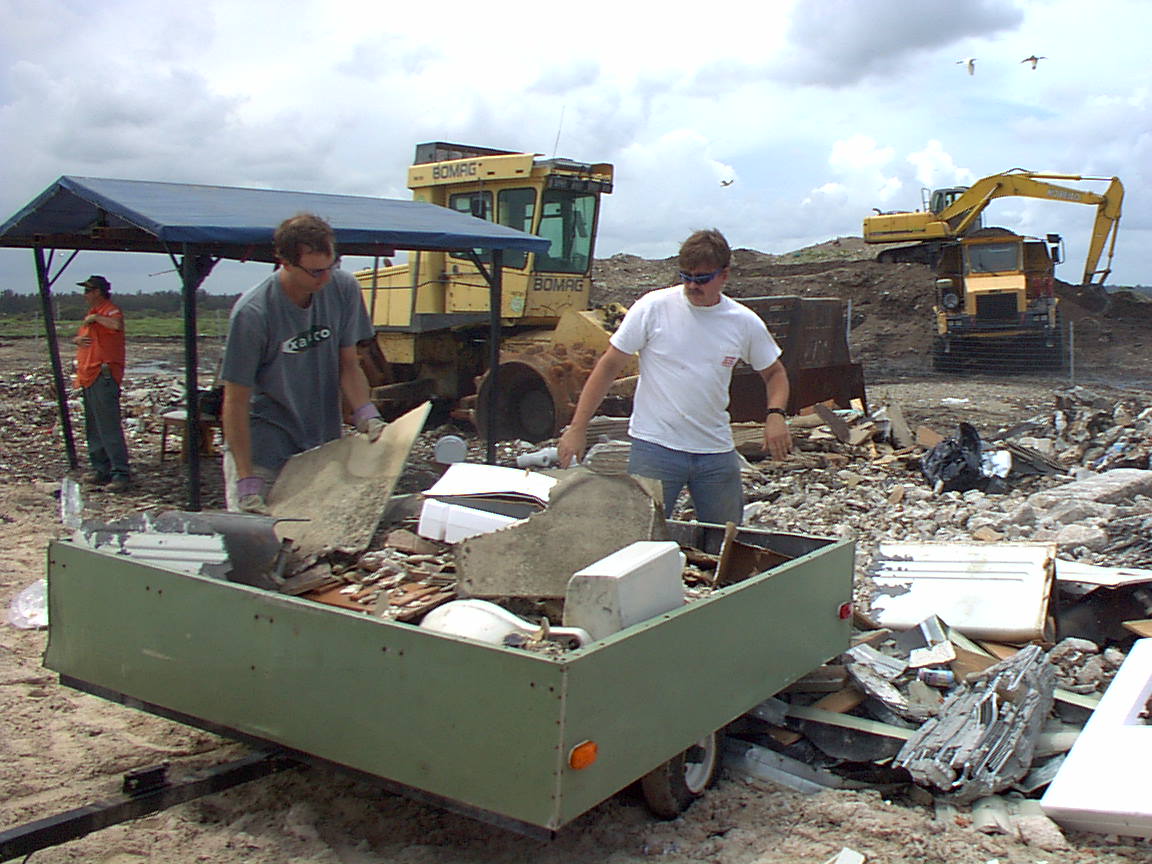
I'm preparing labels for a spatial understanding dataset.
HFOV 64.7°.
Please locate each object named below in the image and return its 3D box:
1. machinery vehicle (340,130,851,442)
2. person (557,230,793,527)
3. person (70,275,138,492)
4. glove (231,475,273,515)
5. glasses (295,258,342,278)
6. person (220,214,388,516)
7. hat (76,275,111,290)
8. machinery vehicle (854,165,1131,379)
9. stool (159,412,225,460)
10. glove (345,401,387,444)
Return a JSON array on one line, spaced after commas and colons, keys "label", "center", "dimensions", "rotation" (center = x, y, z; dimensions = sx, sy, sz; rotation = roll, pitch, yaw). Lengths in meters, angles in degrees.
[{"label": "machinery vehicle", "center": [-0.186, -1.789, 11.973], "dimensions": [6.841, 2.804, 3.739], "rotation": [7, 11, 37]}, {"label": "person", "center": [0.518, -0.258, 4.581], "dimensions": [1.087, 1.466, 0.477], "rotation": [-2, 16, 5]}, {"label": "person", "center": [-4.867, -0.497, 9.335], "dimensions": [0.647, 2.176, 0.672], "rotation": [-12, 18, -23]}, {"label": "glove", "center": [-1.559, 0.295, 4.388], "dimensions": [0.266, 0.160, 0.293], "rotation": [9, -4, -10]}, {"label": "glasses", "center": [-1.202, -0.757, 4.200], "dimensions": [0.182, 0.092, 0.073], "rotation": [-11, 16, -31]}, {"label": "person", "center": [-1.353, -0.243, 4.467], "dimensions": [0.845, 1.229, 0.576], "rotation": [-11, 17, -25]}, {"label": "hat", "center": [-4.900, -1.503, 9.260], "dimensions": [0.189, 0.167, 0.246], "rotation": [-14, 17, -36]}, {"label": "machinery vehicle", "center": [8.841, -3.411, 19.401], "dimensions": [4.801, 4.115, 7.268], "rotation": [2, 14, 19]}, {"label": "stool", "center": [-4.103, 0.046, 9.716], "dimensions": [0.789, 0.442, 0.510], "rotation": [1, 2, 17]}, {"label": "glove", "center": [-1.071, -0.045, 4.728], "dimensions": [0.219, 0.116, 0.500], "rotation": [-6, 19, -27]}]
